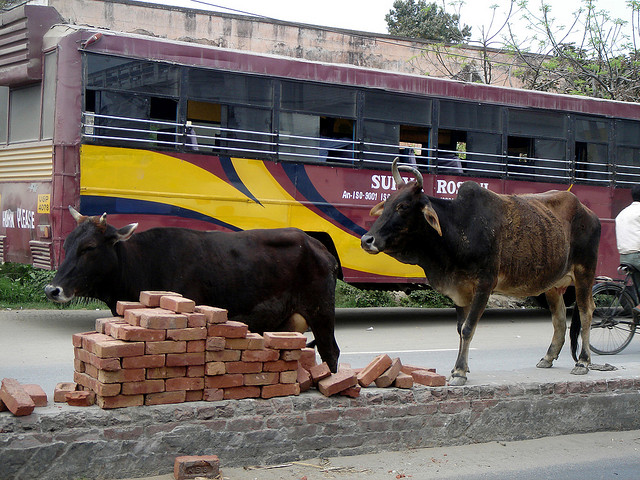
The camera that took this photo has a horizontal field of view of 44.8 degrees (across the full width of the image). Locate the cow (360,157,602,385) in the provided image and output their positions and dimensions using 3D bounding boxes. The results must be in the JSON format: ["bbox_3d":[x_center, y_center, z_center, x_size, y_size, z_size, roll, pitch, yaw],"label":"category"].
[{"bbox_3d":[1.923,0.439,9.092,3.342,2.288,1.052,1,-1,-26],"label":"cow"}]

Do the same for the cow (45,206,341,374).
[{"bbox_3d":[-1.219,0.766,8.232,3.349,1.785,1.043,3,-12,-36],"label":"cow"}]
